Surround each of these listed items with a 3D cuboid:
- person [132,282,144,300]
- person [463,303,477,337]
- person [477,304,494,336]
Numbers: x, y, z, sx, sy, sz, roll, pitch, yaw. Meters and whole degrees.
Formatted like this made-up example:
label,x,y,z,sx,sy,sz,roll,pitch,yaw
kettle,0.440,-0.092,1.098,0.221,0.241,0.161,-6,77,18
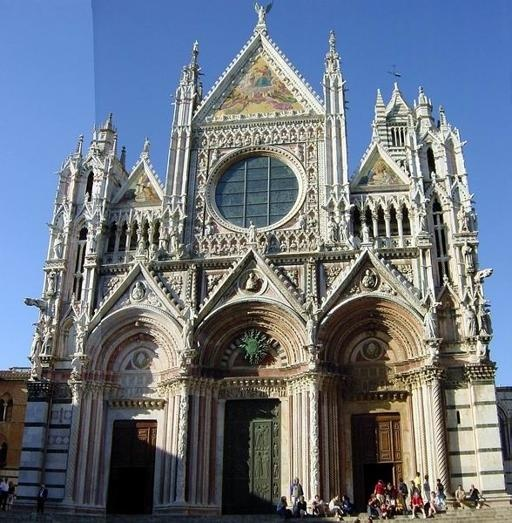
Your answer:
label,x,y,z,sx,sy,sz,roll,pitch,yaw
person,-3.830,0.953,20.076,0.499,0.731,0.199,-8,-37,1
person,6.227,1.731,18.029,0.367,0.989,0.183,-8,-22,17
person,6.705,1.697,18.075,0.603,1.001,0.246,16,-26,-37
